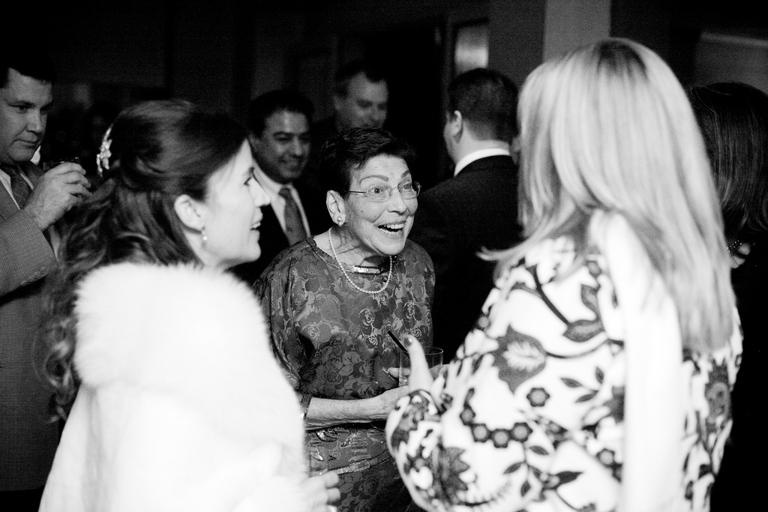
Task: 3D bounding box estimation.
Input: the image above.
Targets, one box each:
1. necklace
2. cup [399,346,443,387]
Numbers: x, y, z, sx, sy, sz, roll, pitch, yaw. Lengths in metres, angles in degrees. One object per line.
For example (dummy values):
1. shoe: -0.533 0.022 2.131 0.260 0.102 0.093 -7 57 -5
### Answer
1. necklace: -0.090 0.023 3.033 0.198 0.269 0.021 -12 -16 -44
2. cup: 0.124 0.366 2.864 0.143 0.159 0.143 -1 -1 0
